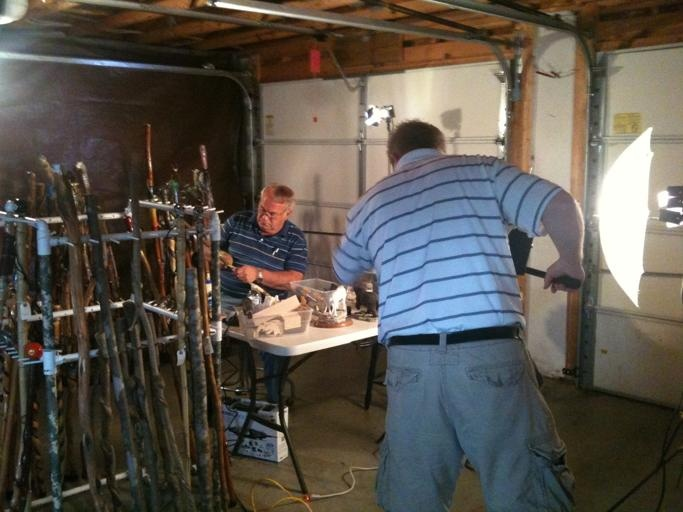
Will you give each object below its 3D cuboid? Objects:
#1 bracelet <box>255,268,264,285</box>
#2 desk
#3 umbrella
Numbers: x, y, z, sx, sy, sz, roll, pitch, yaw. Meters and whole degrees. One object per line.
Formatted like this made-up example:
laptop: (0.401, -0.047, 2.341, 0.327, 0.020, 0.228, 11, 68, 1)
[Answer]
bracelet: (-0.641, 0.156, 5.095, 0.065, 0.108, 0.103, -3, 4, -16)
desk: (-0.231, 0.779, 4.708, 1.416, 1.320, 1.123, -3, 4, -43)
umbrella: (2.149, -0.258, 4.923, 0.348, 1.241, 0.410, 9, 17, 33)
